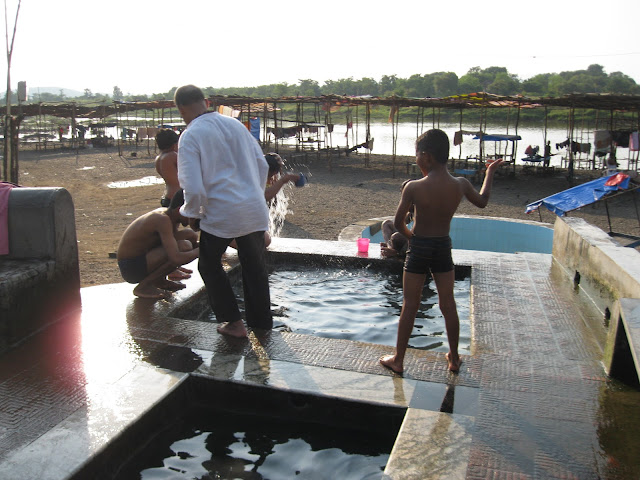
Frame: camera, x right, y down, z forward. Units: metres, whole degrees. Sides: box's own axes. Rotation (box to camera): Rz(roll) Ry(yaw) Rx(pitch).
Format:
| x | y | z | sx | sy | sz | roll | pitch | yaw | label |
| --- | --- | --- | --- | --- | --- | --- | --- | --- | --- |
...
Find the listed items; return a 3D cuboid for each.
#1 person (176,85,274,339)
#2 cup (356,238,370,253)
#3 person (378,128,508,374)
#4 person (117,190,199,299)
| x | y | z | sx | sy | sz | roll | pitch | yaw | label |
| --- | --- | --- | --- | --- | --- | --- | --- | --- | --- |
| -0.844 | -0.253 | 4.171 | 0.907 | 2.087 | 0.801 | -5 | 5 | -30 | person |
| 0.609 | 0.076 | 6.707 | 0.214 | 0.210 | 0.192 | 1 | 5 | 1 | cup |
| 0.890 | 0.071 | 3.577 | 0.626 | 1.788 | 0.819 | 6 | 13 | 25 | person |
| -1.507 | 0.011 | 5.087 | 1.196 | 0.998 | 0.894 | 3 | 11 | 17 | person |
